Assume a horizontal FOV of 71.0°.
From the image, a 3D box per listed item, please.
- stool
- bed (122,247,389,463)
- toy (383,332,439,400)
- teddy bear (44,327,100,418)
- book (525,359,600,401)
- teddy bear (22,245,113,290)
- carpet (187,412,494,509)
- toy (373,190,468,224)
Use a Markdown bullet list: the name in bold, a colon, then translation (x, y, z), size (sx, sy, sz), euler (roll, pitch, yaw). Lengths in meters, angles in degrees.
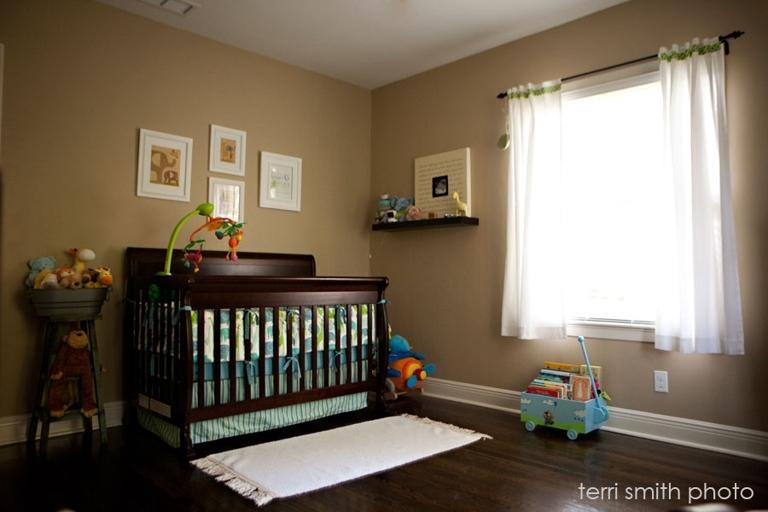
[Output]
- **stool**: translation (-2.305, 0.897, 3.863), size (0.565, 0.881, 0.403), euler (-2, 6, -19)
- **bed**: translation (-1.011, 0.637, 4.465), size (1.831, 1.413, 1.199), euler (2, -4, -43)
- **toy**: translation (0.222, 0.964, 4.788), size (0.405, 0.306, 0.555), euler (-1, 0, -34)
- **teddy bear**: translation (-2.240, 0.826, 3.870), size (0.197, 0.604, 0.387), euler (0, -3, 45)
- **book**: translation (1.439, 0.961, 4.175), size (0.535, 0.241, 0.364), euler (5, 8, 34)
- **teddy bear**: translation (-2.328, 0.101, 4.015), size (0.524, 0.285, 0.286), euler (-7, -8, -1)
- **carpet**: translation (-0.351, 1.353, 3.676), size (1.694, 0.047, 0.842), euler (-4, 8, -34)
- **toy**: translation (0.355, -0.455, 5.136), size (0.320, 0.304, 1.069), euler (-5, 9, -42)
